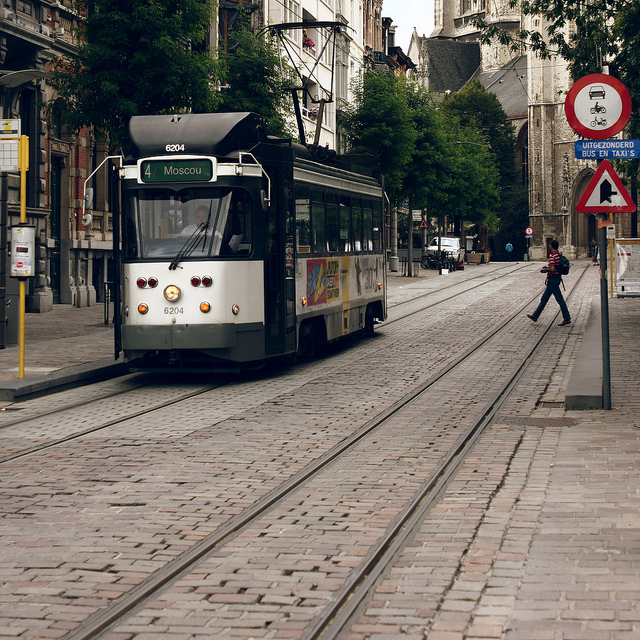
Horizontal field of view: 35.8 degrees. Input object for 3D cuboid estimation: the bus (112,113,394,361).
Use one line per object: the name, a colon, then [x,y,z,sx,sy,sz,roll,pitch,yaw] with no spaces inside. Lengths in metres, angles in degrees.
bus: [-0.813,-1.225,15.570,1.966,2.909,6.595,1,4,17]

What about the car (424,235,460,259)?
car: [6.537,-3.949,53.966,1.071,0.941,2.225,-1,-2,18]
